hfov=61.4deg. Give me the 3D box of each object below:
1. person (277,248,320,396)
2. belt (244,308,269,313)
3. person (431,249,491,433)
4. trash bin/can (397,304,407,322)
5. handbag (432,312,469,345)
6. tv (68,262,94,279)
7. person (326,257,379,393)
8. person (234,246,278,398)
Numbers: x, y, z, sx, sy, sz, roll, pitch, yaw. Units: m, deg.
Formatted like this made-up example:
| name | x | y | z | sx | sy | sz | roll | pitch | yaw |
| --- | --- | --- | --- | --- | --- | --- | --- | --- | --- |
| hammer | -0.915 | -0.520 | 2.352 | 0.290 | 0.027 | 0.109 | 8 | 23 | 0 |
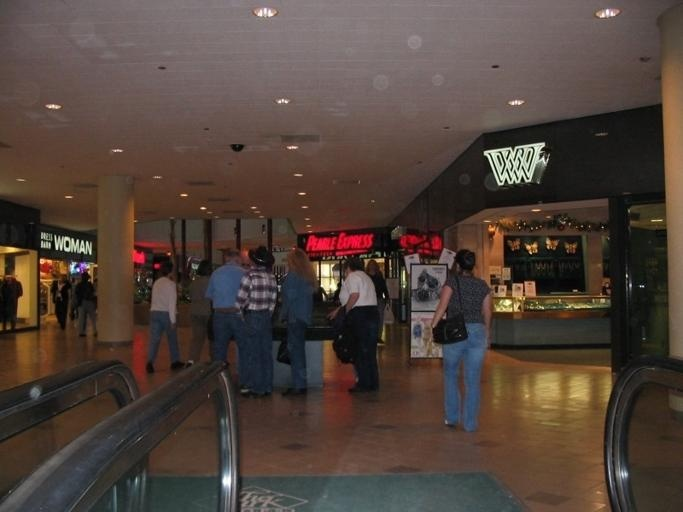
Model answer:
| name | x | y | z | sx | sy | sz | roll | pitch | yaw |
| --- | --- | --- | --- | --- | --- | --- | --- | --- | --- |
| person | -0.519 | 0.797 | 6.884 | 0.396 | 1.743 | 0.384 | 0 | -3 | -6 |
| belt | -0.959 | 0.618 | 6.575 | 0.258 | 0.047 | 0.108 | 0 | -3 | -10 |
| person | 1.109 | 0.900 | 5.293 | 0.512 | 1.436 | 0.438 | -1 | -3 | 12 |
| trash bin/can | 2.082 | 1.951 | 19.480 | 0.277 | 0.642 | 0.774 | -1 | -3 | 8 |
| handbag | 0.983 | 0.652 | 5.153 | 0.228 | 0.214 | 0.106 | -15 | -25 | 31 |
| tv | -10.934 | 0.577 | 24.008 | 0.185 | 0.798 | 0.792 | 5 | 8 | 31 |
| person | 0.192 | 0.846 | 7.024 | 0.483 | 1.669 | 0.628 | -2 | -4 | 27 |
| person | -0.983 | 0.890 | 6.704 | 0.426 | 1.537 | 0.451 | 0 | -3 | -7 |
